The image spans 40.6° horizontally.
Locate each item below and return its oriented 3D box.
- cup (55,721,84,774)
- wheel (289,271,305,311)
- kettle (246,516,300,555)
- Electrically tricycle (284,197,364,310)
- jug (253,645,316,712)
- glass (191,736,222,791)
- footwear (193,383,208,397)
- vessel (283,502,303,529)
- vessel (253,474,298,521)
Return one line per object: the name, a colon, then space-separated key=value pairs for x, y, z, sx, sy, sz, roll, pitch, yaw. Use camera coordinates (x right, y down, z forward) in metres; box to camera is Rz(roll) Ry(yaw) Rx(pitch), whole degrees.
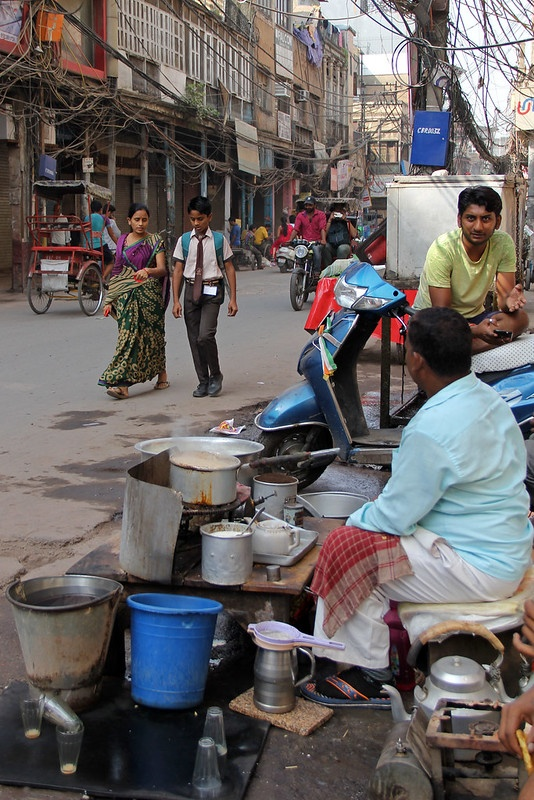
cup: x=-0.488 y=0.873 z=1.794 sx=0.090 sy=0.094 sz=0.087 roll=-1 pitch=-21 yaw=0
wheel: x=0.580 y=-2.064 z=13.609 sx=0.192 sy=0.653 sz=0.593 roll=-1 pitch=40 yaw=11
kettle: x=0.016 y=0.467 z=2.471 sx=0.136 sy=0.100 sz=0.243 roll=5 pitch=12 yaw=38
Electrically tricycle: x=0.938 y=-3.040 z=14.320 sx=1.224 sy=1.572 sz=2.654 roll=8 pitch=17 yaw=24
jug: x=0.012 y=0.808 z=2.139 sx=0.241 sy=0.214 sz=0.140 roll=2 pitch=1 yaw=-7
glass: x=-0.139 y=0.872 z=1.713 sx=0.077 sy=0.121 sz=0.084 roll=-1 pitch=9 yaw=-19
footwear: x=-0.649 y=-0.093 z=7.054 sx=0.077 sy=0.079 sz=0.193 roll=0 pitch=0 yaw=14
vessel: x=0.117 y=0.459 z=2.867 sx=0.090 sy=0.092 sz=0.087 roll=0 pitch=8 yaw=8
vessel: x=0.037 y=0.386 z=2.882 sx=0.165 sy=0.151 sz=0.167 roll=1 pitch=5 yaw=0
